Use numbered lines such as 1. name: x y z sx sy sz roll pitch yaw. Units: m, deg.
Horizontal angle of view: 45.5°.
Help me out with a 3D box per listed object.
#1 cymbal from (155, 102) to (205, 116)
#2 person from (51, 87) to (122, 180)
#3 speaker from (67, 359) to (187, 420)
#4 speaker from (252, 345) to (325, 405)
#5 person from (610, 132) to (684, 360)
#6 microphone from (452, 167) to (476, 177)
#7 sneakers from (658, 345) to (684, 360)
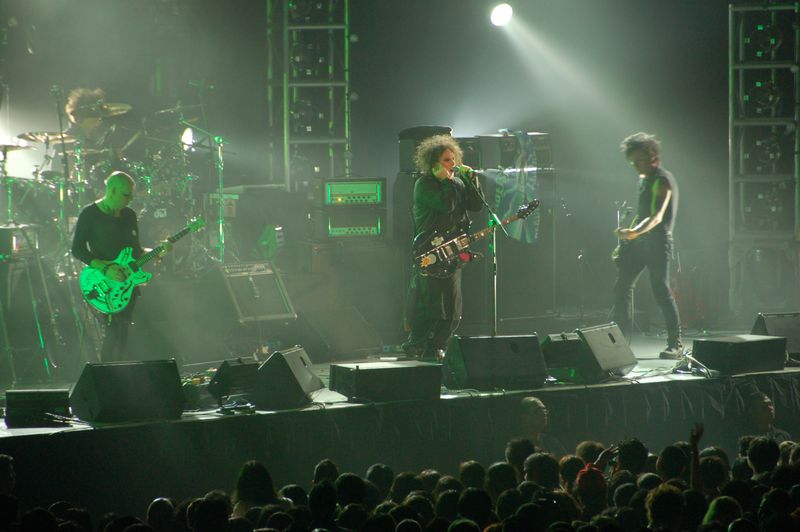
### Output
1. cymbal: -3.399 -2.416 14.787 0.893 0.181 0.117 -15 9 -38
2. person: -4.594 -1.992 13.815 0.962 1.399 3.042 -6 6 -19
3. speaker: -2.714 1.251 9.497 0.979 0.638 0.634 0 -14 -21
4. speaker: -1.174 1.171 10.037 0.531 0.528 0.746 3 2 5
5. person: 3.000 -0.263 11.640 0.797 2.668 0.961 -2 5 16
6. microphone: 0.699 -1.038 10.610 0.163 0.064 0.065 7 32 28
7. sneakers: 3.234 1.029 11.336 0.291 0.118 0.129 5 -8 -34
